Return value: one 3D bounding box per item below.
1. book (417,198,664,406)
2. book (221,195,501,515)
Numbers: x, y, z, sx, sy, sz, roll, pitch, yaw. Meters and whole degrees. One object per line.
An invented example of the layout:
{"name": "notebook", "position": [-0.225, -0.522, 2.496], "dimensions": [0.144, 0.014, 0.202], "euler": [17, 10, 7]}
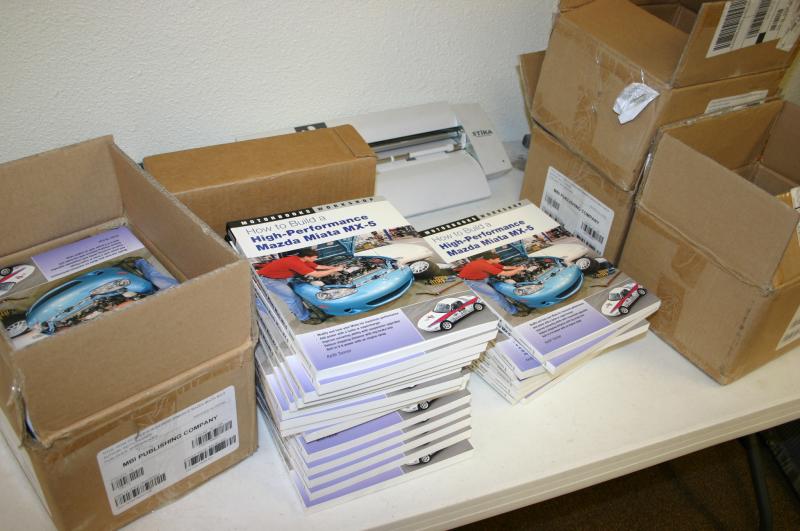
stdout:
{"name": "book", "position": [0.245, 0.075, 1.063], "dimensions": [0.389, 0.084, 0.357], "euler": [-22, 50, -26]}
{"name": "book", "position": [-0.105, 0.158, 1.072], "dimensions": [0.441, 0.272, 0.471], "euler": [-12, 49, -21]}
